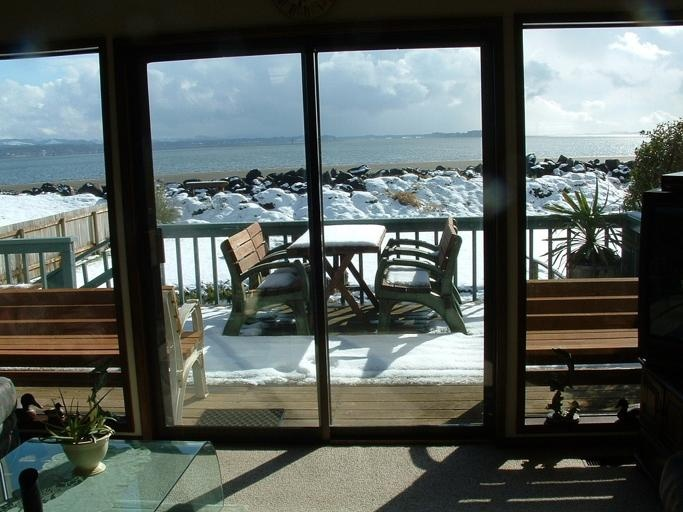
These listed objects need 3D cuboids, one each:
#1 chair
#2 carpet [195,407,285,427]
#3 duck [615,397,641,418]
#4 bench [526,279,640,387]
[{"bbox_3d":[0.008,0.090,3.092,1.231,0.401,0.687,-1,12,3],"label":"chair"},{"bbox_3d":[-0.606,0.959,3.209,0.450,0.124,0.016,-2,-19,6],"label":"carpet"},{"bbox_3d":[1.624,0.854,3.002,0.135,0.103,0.075,-3,8,7],"label":"duck"},{"bbox_3d":[1.356,0.400,2.981,0.708,0.378,0.289,-1,10,7],"label":"bench"}]
